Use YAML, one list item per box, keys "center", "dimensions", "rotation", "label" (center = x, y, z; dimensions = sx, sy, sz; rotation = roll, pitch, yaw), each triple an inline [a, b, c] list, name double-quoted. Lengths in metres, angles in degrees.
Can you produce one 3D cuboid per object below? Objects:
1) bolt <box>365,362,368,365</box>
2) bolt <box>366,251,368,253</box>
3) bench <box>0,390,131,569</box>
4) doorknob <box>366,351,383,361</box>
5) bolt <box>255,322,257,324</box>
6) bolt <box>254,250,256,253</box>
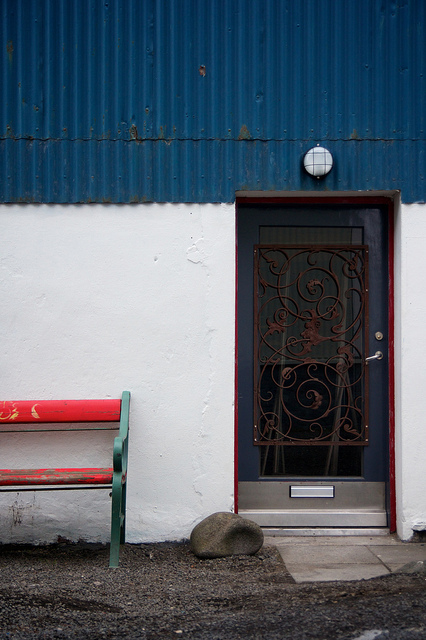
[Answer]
- center: [1.080, 0.300, 6.765]
  dimensions: [0.020, 0.013, 0.006]
  rotation: [4, -4, -33]
  label: "bolt"
- center: [1.086, -0.485, 6.787]
  dimensions: [0.013, 0.013, 0.003]
  rotation: [0, 6, 0]
  label: "bolt"
- center: [-0.980, 1.078, 6.344]
  dimensions: [1.049, 0.807, 0.421]
  rotation: [0, -4, 3]
  label: "bench"
- center: [1.136, 0.249, 6.755]
  dimensions: [0.108, 0.041, 0.045]
  rotation: [-30, 39, -4]
  label: "doorknob"
- center: [0.298, 0.015, 6.741]
  dimensions: [0.014, 0.013, 0.003]
  rotation: [1, -3, -19]
  label: "bolt"
- center: [0.296, -0.485, 6.756]
  dimensions: [0.010, 0.012, 0.012]
  rotation: [10, 25, 5]
  label: "bolt"
